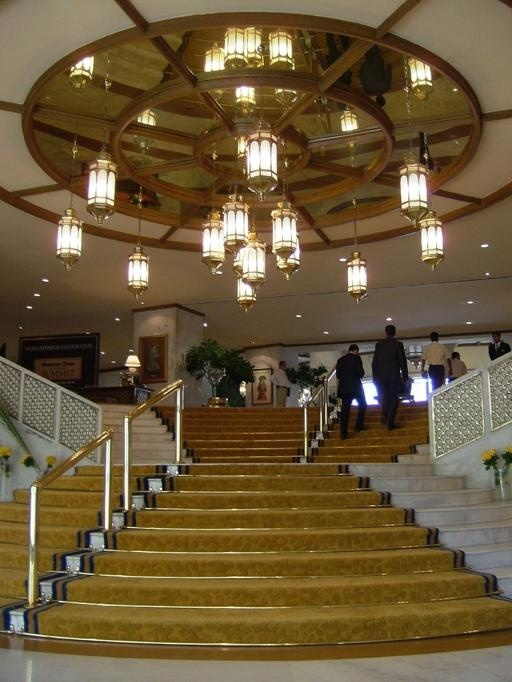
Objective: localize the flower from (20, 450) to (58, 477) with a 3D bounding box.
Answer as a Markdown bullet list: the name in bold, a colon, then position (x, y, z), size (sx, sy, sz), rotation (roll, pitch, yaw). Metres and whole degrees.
- **flower**: position (-3.295, 1.856, 8.482), size (0.497, 0.297, 0.919), rotation (5, -13, -19)

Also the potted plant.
- **potted plant**: position (-1.272, 0.724, 13.475), size (1.469, 1.633, 1.537), rotation (-13, -10, 9)

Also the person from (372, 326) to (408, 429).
- **person**: position (2.054, 0.580, 8.545), size (0.510, 1.492, 0.907), rotation (-2, -14, 13)

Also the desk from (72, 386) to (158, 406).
- **desk**: position (-3.203, 1.229, 12.780), size (1.432, 0.585, 1.523), rotation (3, -12, -11)

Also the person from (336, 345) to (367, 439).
- **person**: position (1.503, 0.764, 8.889), size (0.455, 1.554, 1.030), rotation (-1, -14, 9)

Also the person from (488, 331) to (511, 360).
- **person**: position (4.626, 0.080, 10.633), size (0.322, 0.552, 0.815), rotation (-4, -14, 20)
